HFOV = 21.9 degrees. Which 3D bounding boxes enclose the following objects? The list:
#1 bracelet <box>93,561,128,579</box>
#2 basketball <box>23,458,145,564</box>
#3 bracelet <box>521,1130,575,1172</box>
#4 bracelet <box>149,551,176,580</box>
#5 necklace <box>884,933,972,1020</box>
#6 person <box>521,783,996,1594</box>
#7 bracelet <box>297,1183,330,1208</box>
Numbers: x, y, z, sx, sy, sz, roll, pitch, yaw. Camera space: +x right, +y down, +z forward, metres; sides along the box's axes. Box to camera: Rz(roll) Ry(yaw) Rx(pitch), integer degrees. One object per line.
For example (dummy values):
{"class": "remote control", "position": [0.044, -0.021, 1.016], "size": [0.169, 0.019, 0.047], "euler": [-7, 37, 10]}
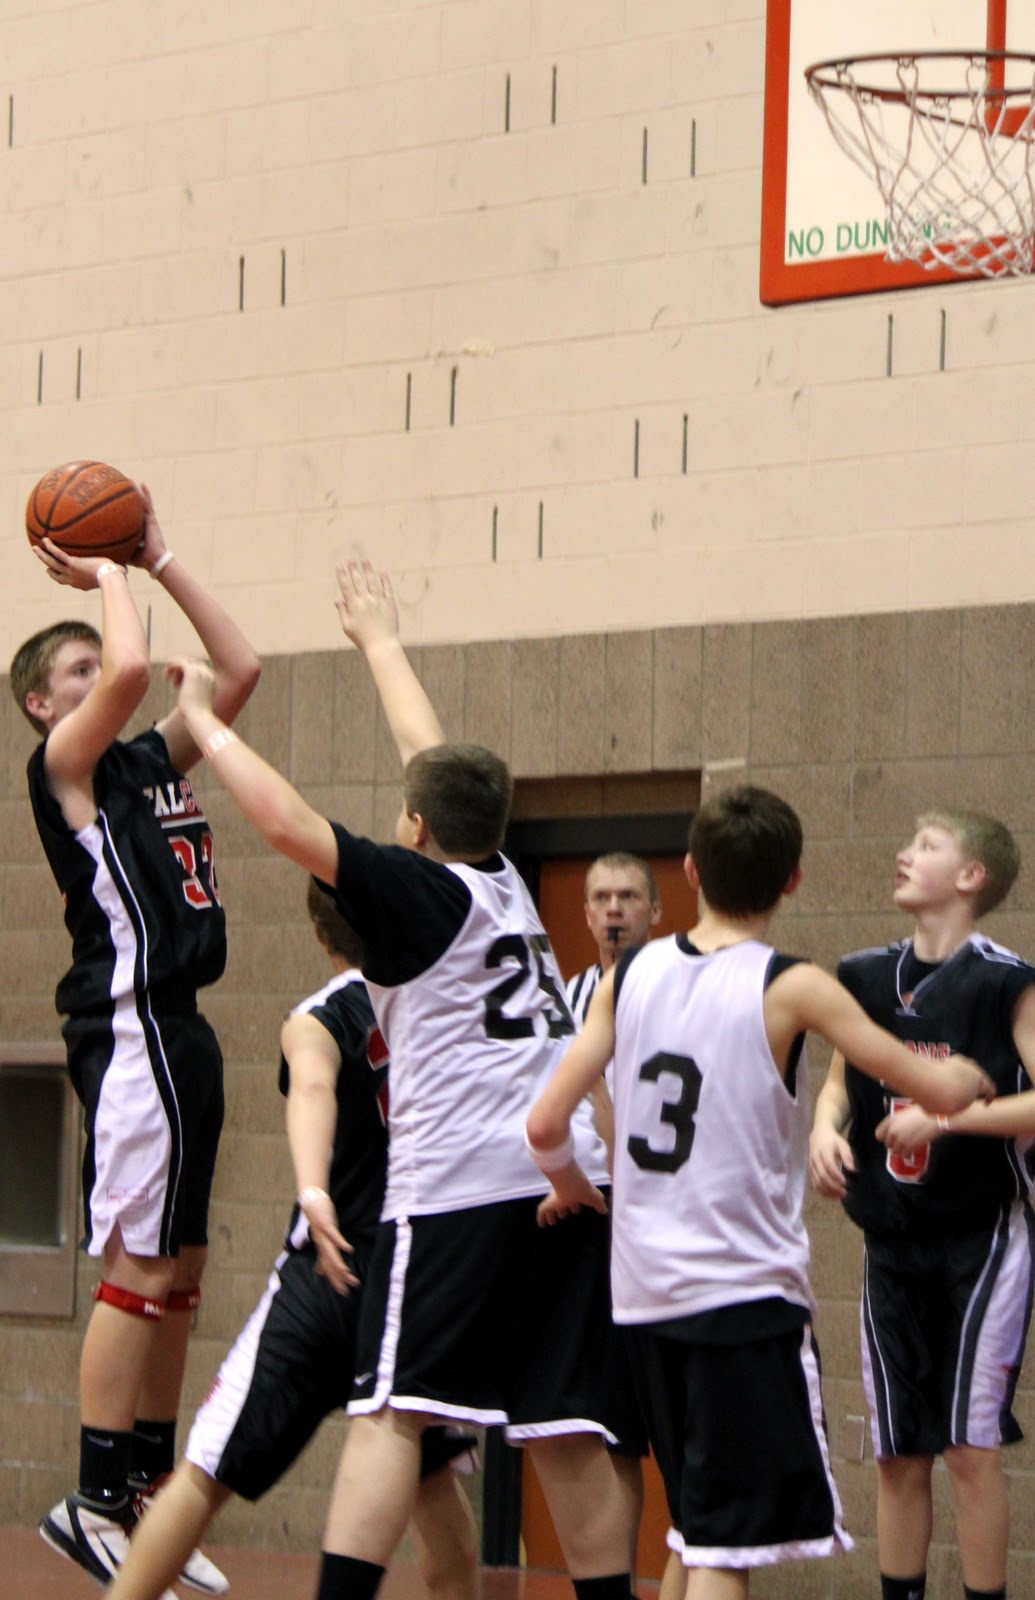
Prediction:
{"class": "bracelet", "position": [-0.845, -0.476, 5.552], "size": [0.037, 0.026, 0.055], "euler": [6, 11, 7]}
{"class": "basketball", "position": [-0.928, -0.625, 5.728], "size": [0.195, 0.236, 0.218], "euler": [6, 17, 23]}
{"class": "bracelet", "position": [0.059, 0.624, 4.639], "size": [0.060, 0.053, 0.066], "euler": [-16, 28, 20]}
{"class": "bracelet", "position": [-0.767, -0.515, 5.819], "size": [0.052, 0.016, 0.052], "euler": [-47, 9, 40]}
{"class": "necklace", "position": [0.867, 0.385, 5.661], "size": [0.095, 0.178, 0.167], "euler": [-4, -10, 27]}
{"class": "person", "position": [0.354, 0.790, 4.567], "size": [0.700, 1.075, 0.338], "euler": [3, 4, 10]}
{"class": "bracelet", "position": [-0.373, 0.725, 4.893], "size": [0.043, 0.035, 0.018], "euler": [37, 6, 23]}
